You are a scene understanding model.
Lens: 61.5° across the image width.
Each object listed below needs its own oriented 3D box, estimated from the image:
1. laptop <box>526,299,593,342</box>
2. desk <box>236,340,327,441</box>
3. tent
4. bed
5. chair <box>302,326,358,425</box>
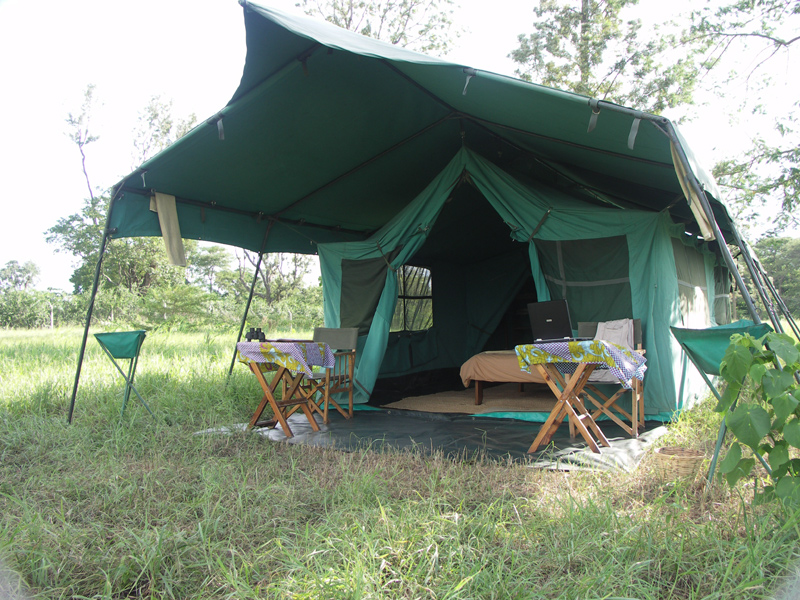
[{"bbox_3d":[1.633,0.214,6.803,0.556,0.430,0.587,-3,-6,38],"label":"laptop"},{"bbox_3d":[-1.306,0.974,7.406,0.836,1.012,0.635,-2,-2,27],"label":"desk"},{"bbox_3d":[2.048,-0.307,9.650,4.086,2.666,4.151,-4,-9,28],"label":"tent"},{"bbox_3d":[1.373,1.044,8.997,0.979,0.712,1.101,7,4,13],"label":"bed"},{"bbox_3d":[-0.792,0.905,8.201,0.561,1.084,0.515,2,4,-29],"label":"chair"}]
